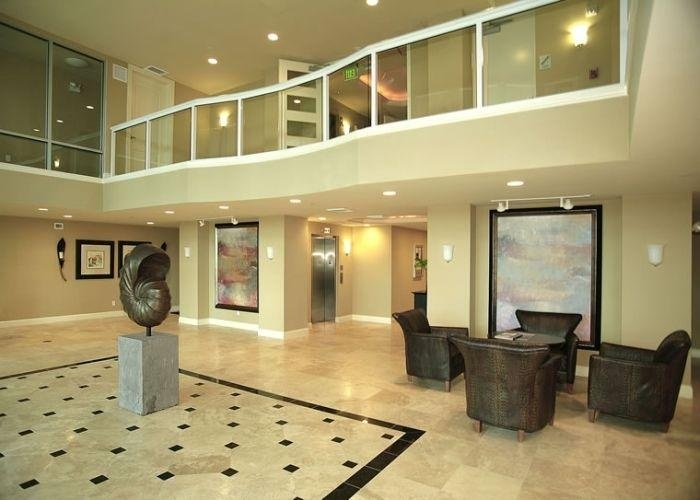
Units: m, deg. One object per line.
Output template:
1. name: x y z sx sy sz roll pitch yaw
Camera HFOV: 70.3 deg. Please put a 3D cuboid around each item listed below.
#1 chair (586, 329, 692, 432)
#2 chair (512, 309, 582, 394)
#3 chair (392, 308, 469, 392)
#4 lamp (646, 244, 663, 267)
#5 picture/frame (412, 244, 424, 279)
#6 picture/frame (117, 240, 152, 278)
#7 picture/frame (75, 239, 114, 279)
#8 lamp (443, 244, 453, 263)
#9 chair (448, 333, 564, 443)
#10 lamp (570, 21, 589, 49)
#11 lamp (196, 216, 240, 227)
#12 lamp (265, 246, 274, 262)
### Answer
1. chair: 4.322 1.882 7.423 1.315 1.383 1.153 2 5 43
2. chair: 3.430 1.746 8.703 1.392 1.369 1.383 2 -2 0
3. chair: 1.523 1.748 8.975 1.224 1.186 1.254 1 1 44
4. lamp: 5.147 0.072 8.367 0.297 0.413 0.294 0 -2 21
5. picture/frame: 2.103 0.385 15.591 0.091 1.273 1.136 0 0 23
6. picture/frame: -6.745 0.169 15.232 0.435 0.951 0.670 3 9 22
7. picture/frame: -7.517 0.270 14.467 0.097 1.280 1.132 4 5 34
8. lamp: 1.945 0.085 10.032 0.277 0.405 0.287 -1 0 14
9. chair: 2.389 1.896 7.433 1.260 1.273 1.383 0 1 31
10. lamp: 3.150 -2.957 6.817 0.284 0.292 0.289 0 4 16
11. lamp: -3.574 -0.734 13.249 1.507 0.300 0.684 6 9 35
12. lamp: -1.979 0.093 12.152 0.222 0.355 0.105 7 11 38
